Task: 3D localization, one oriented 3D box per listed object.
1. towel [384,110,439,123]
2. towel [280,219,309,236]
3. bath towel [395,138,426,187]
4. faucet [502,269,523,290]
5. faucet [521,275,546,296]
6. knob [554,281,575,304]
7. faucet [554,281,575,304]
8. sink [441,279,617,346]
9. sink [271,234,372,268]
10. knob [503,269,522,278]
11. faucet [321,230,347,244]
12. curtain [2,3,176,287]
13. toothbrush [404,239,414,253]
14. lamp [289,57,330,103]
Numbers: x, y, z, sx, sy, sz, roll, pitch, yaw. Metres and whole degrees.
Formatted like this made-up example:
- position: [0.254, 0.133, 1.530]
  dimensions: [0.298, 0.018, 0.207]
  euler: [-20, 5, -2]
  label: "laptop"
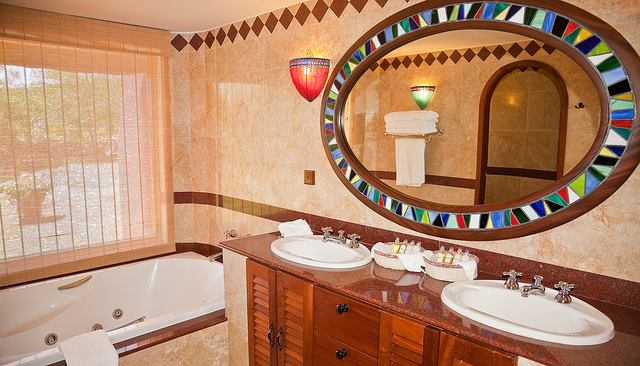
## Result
- position: [0.687, -0.510, 3.033]
  dimensions: [0.415, 0.090, 0.012]
  euler: [5, 11, 27]
  label: "towel"
- position: [-0.226, 0.374, 3.466]
  dimensions: [0.164, 0.049, 0.158]
  euler: [-5, 13, -31]
  label: "towel"
- position: [0.683, -0.165, 3.060]
  dimensions: [0.238, 0.361, 0.075]
  euler: [4, 11, 20]
  label: "bath towel"
- position: [1.271, 0.643, 2.643]
  dimensions: [0.126, 0.107, 0.071]
  euler: [1, -2, 31]
  label: "faucet"
- position: [1.364, 0.664, 2.568]
  dimensions: [0.160, 0.116, 0.074]
  euler: [-2, 10, -19]
  label: "faucet"
- position: [1.550, 0.703, 2.543]
  dimensions: [0.136, 0.128, 0.083]
  euler: [-1, -5, 35]
  label: "knob"
- position: [1.546, 0.703, 2.541]
  dimensions: [0.133, 0.126, 0.081]
  euler: [1, -6, 36]
  label: "faucet"
- position: [1.255, 0.805, 2.471]
  dimensions: [0.968, 0.225, 0.354]
  euler: [3, 9, 16]
  label: "sink"
- position: [0.013, 0.562, 3.167]
  dimensions: [0.797, 0.172, 0.512]
  euler: [5, 9, 26]
  label: "sink"
- position: [1.283, 0.607, 2.664]
  dimensions: [0.090, 0.044, 0.025]
  euler: [1, 4, 20]
  label: "knob"
- position: [0.117, 0.432, 3.291]
  dimensions: [0.224, 0.100, 0.078]
  euler: [5, 10, 25]
  label: "faucet"
- position: [-2.332, -0.370, 4.013]
  dimensions: [1.595, 2.583, 0.290]
  euler: [-6, 12, -33]
  label: "curtain"
- position: [0.665, 0.476, 2.974]
  dimensions: [0.058, 0.062, 0.132]
  euler: [5, 9, 23]
  label: "toothbrush"
- position: [-0.090, -0.876, 3.385]
  dimensions: [0.332, 0.341, 0.155]
  euler: [0, 10, -4]
  label: "lamp"
